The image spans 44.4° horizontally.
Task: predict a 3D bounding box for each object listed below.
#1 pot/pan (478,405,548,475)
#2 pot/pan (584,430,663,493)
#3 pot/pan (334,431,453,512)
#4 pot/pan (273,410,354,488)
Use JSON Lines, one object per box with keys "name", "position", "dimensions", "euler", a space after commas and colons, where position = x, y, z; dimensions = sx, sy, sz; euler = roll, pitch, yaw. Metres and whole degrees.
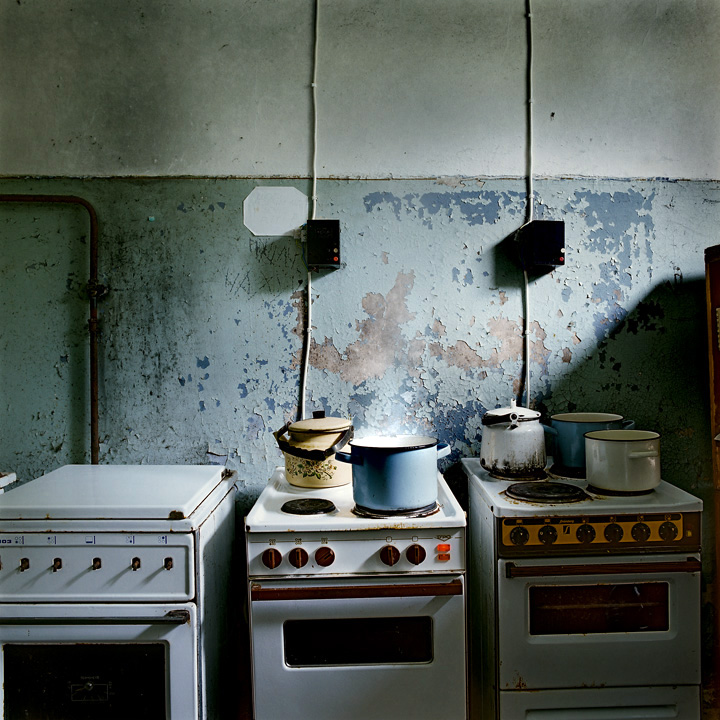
{"name": "pot/pan", "position": [0.499, 0.219, 2.874], "dimensions": [0.183, 0.289, 0.268], "euler": [-2, 17, 3]}
{"name": "pot/pan", "position": [0.802, 0.324, 2.693], "dimensions": [0.179, 0.203, 0.260], "euler": [-1, 3, 10]}
{"name": "pot/pan", "position": [0.095, 0.336, 2.661], "dimensions": [0.256, 0.165, 0.211], "euler": [0, 2, -1]}
{"name": "pot/pan", "position": [-0.149, 0.287, 2.877], "dimensions": [0.215, 0.246, 0.300], "euler": [6, 9, 27]}
